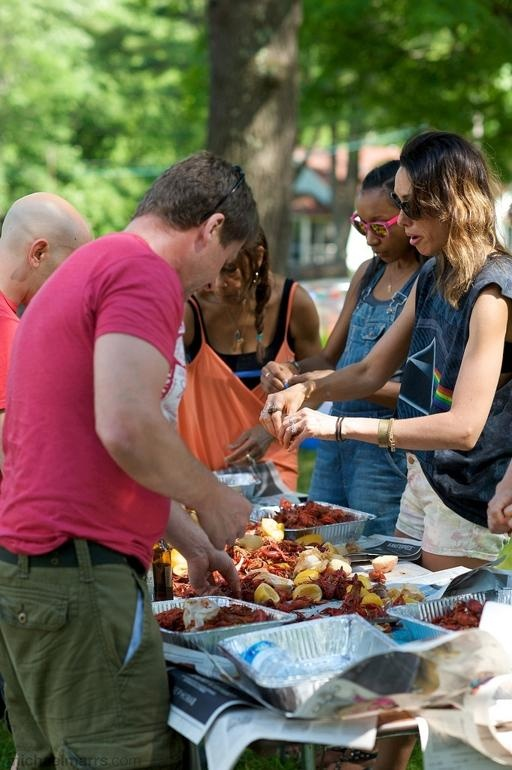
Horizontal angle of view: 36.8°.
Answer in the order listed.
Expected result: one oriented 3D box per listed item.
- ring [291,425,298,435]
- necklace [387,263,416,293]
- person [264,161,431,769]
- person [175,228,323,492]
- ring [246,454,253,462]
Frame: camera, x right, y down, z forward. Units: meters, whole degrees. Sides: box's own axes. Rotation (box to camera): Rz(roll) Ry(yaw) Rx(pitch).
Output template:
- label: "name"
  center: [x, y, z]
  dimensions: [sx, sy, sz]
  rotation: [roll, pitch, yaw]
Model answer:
- label: "ring"
  center: [0.134, 0.153, 2.632]
  dimensions: [0.006, 0.024, 0.027]
  rotation: [2, 5, -45]
- label: "necklace"
  center: [0.652, -0.486, 3.520]
  dimensions: [0.116, 0.138, 0.054]
  rotation: [2, -5, 15]
- label: "person"
  center: [0.490, 0.138, 3.681]
  dimensions: [0.794, 2.181, 0.738]
  rotation: [-9, 10, -34]
- label: "person"
  center: [-0.044, -0.156, 3.849]
  dimensions: [0.680, 1.169, 0.669]
  rotation: [-5, 12, -26]
- label: "ring"
  center: [-0.025, 0.329, 3.523]
  dimensions: [0.008, 0.033, 0.025]
  rotation: [-27, 9, -32]
